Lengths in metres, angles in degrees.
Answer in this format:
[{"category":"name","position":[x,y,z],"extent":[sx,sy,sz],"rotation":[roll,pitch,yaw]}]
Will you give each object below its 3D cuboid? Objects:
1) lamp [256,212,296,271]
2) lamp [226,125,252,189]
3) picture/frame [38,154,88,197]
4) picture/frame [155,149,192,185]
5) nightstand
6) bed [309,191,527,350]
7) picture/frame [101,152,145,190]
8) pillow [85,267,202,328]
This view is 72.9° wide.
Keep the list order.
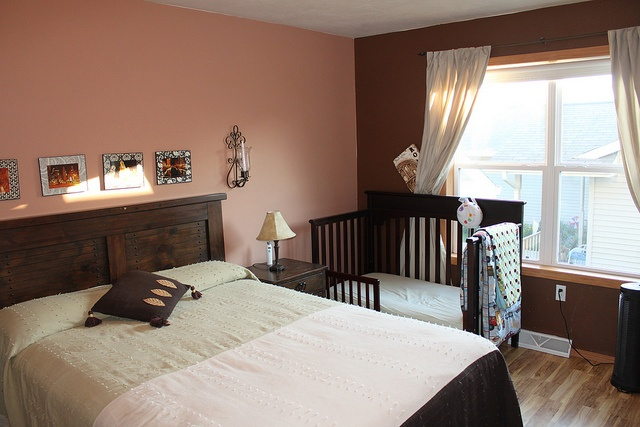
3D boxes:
[{"category":"lamp","position":[-0.413,0.268,4.075],"extent":[0.369,0.538,0.393],"rotation":[-7,9,-30]},{"category":"lamp","position":[-0.772,-0.530,4.050],"extent":[0.273,0.586,0.063],"rotation":[-7,12,-30]},{"category":"picture/frame","position":[-1.942,-0.288,3.223],"extent":[0.314,0.308,0.020],"rotation":[-7,10,-43]},{"category":"picture/frame","position":[-1.271,-0.404,3.700],"extent":[0.309,0.295,0.026],"rotation":[-5,7,-39]},{"category":"nightstand","position":[-0.299,0.567,4.012],"extent":[0.440,0.435,0.443],"rotation":[9,19,34]},{"category":"bed","position":[0.889,0.532,4.247],"extent":[1.900,1.313,1.101],"rotation":[3,7,41]},{"category":"picture/frame","position":[-1.603,-0.345,3.469],"extent":[0.304,0.269,0.030],"rotation":[-7,10,-43]},{"category":"pillow","position":[-1.258,0.592,3.024],"extent":[0.387,0.116,0.385],"rotation":[20,36,5]}]
